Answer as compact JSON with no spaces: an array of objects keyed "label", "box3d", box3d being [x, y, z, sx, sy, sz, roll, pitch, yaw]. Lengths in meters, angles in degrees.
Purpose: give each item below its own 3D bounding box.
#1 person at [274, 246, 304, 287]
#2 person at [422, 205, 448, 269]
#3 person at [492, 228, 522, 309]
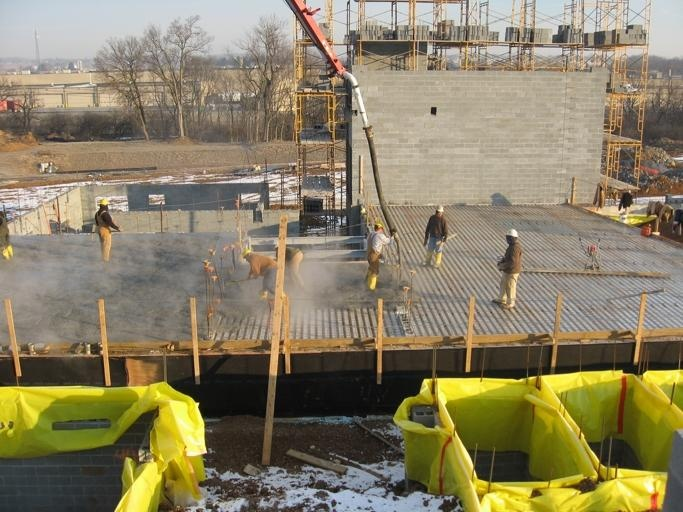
[{"label":"person","box3d":[-1.309,0.322,26.358,0.472,1.100,0.635,-1,14,-4]},{"label":"person","box3d":[2.733,-0.613,27.941,0.662,1.814,1.102,0,14,3]},{"label":"person","box3d":[4.420,0.375,25.453,0.588,2.129,0.562,1,13,5]}]
